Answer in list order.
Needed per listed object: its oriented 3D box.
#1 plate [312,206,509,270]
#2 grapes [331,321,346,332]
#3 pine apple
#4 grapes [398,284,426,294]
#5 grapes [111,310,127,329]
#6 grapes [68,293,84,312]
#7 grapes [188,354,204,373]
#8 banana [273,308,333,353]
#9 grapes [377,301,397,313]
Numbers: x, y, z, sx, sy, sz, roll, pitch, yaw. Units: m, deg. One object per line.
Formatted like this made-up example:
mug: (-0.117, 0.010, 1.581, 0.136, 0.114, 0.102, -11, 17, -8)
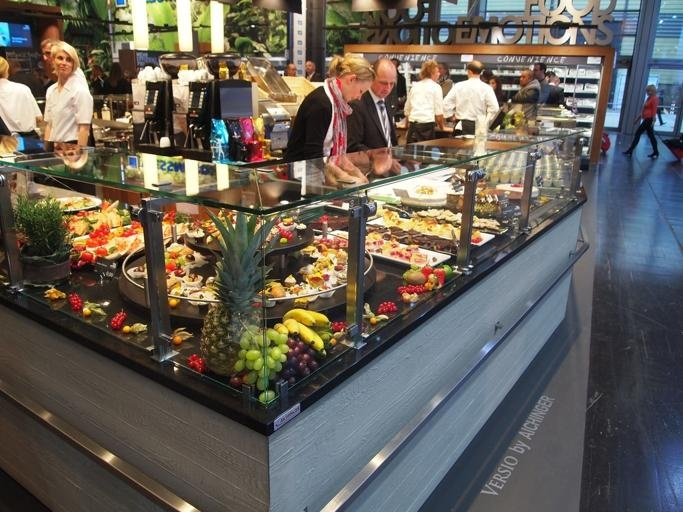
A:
plate: (0.497, -0.110, 2.590, 0.522, 0.069, 0.363, 19, 29, 17)
grapes: (-0.010, 0.289, 2.015, 0.038, 0.016, 0.046, 6, 13, 28)
pine apple: (-0.369, 0.153, 1.770, 0.208, 0.542, 0.234, 10, 11, 13)
grapes: (0.348, 0.166, 2.452, 0.096, 0.028, 0.055, 1, 9, -11)
grapes: (-0.931, 0.266, 2.100, 0.050, 0.035, 0.075, 7, 36, 21)
grapes: (-1.189, 0.203, 2.251, 0.053, 0.038, 0.108, -32, 50, -20)
grapes: (-0.543, 0.409, 1.877, 0.050, 0.033, 0.069, -11, 39, -42)
banana: (-0.149, 0.291, 1.891, 0.196, 0.065, 0.148, 19, 30, -38)
grapes: (0.211, 0.242, 2.277, 0.057, 0.020, 0.060, 6, 14, 39)
